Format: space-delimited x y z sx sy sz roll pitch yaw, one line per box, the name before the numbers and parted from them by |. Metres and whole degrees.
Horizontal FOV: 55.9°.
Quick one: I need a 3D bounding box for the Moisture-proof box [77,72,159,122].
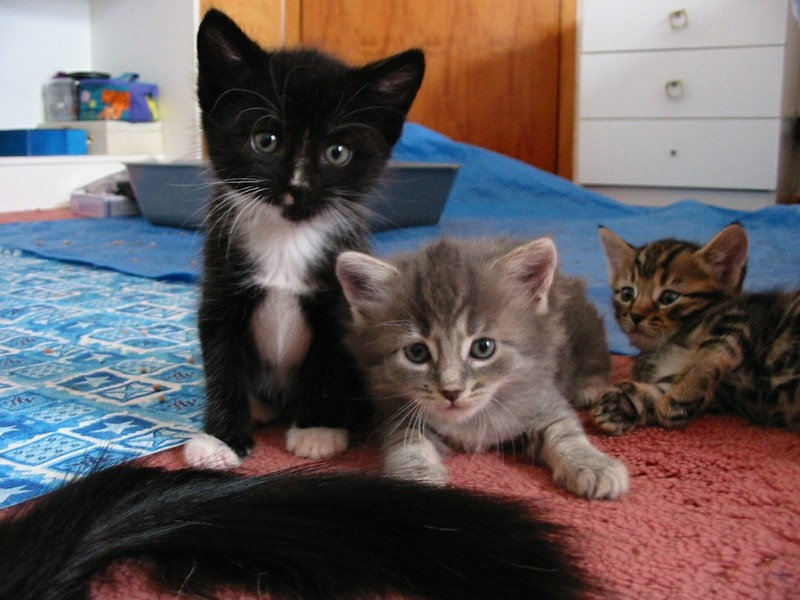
Moisture-proof box | -1.877 -1.324 5.041 0.523 0.270 0.253 -3 16 -17
